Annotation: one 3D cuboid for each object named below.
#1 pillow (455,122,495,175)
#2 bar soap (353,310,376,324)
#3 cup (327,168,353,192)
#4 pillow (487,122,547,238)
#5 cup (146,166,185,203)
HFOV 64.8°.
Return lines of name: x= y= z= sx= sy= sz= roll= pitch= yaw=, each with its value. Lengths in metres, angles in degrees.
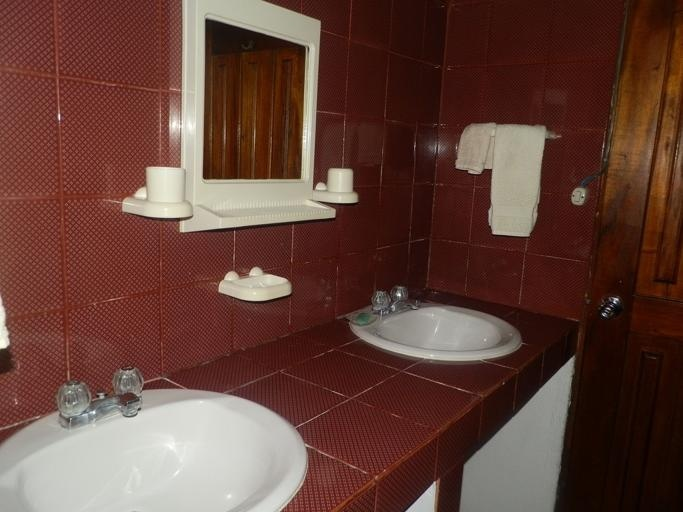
pillow: x=0.551 y=-0.448 z=2.188 sx=0.065 sy=0.194 sz=0.177 roll=1 pitch=6 yaw=-43
bar soap: x=0.084 y=0.224 z=1.973 sx=0.047 sy=0.021 sz=0.055 roll=-6 pitch=11 yaw=8
cup: x=-0.002 y=-0.256 z=1.803 sx=0.074 sy=0.071 sz=0.077 roll=2 pitch=12 yaw=0
pillow: x=0.697 y=-0.298 z=2.137 sx=0.212 sy=0.455 sz=0.102 roll=9 pitch=12 yaw=22
cup: x=-0.421 y=-0.169 z=1.289 sx=0.084 sy=0.087 sz=0.081 roll=0 pitch=1 yaw=0
